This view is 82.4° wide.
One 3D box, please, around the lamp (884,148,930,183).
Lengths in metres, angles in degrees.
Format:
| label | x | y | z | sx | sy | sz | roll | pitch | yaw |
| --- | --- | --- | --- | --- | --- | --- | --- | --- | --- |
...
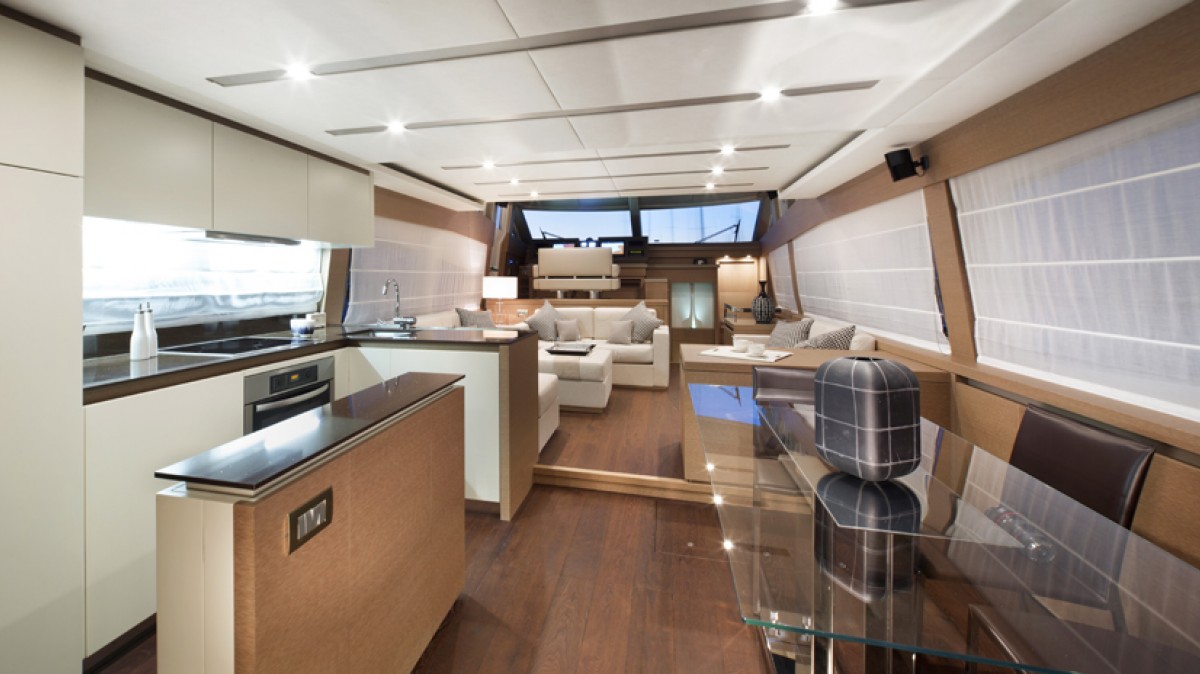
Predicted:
| label | x | y | z | sx | sy | sz | roll | pitch | yaw |
| --- | --- | --- | --- | --- | --- | --- | --- | --- | --- |
| lamp | 2.461 | -1.385 | 5.512 | 0.304 | 0.214 | 0.201 | -3 | 6 | 27 |

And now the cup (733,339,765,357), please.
| label | x | y | z | sx | sy | sz | roll | pitch | yaw |
| --- | --- | --- | --- | --- | --- | --- | --- | --- | --- |
| cup | 1.260 | 0.086 | 5.977 | 0.181 | 0.097 | 0.257 | 2 | -1 | -37 |

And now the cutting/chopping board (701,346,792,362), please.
| label | x | y | z | sx | sy | sz | roll | pitch | yaw |
| --- | --- | --- | --- | --- | --- | --- | --- | --- | --- |
| cutting/chopping board | 1.246 | 0.124 | 5.872 | 0.733 | 0.101 | 0.472 | 1 | 7 | 12 |

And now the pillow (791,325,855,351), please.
| label | x | y | z | sx | sy | sz | roll | pitch | yaw |
| --- | --- | --- | --- | --- | --- | --- | --- | --- | --- |
| pillow | 2.175 | 0.005 | 6.571 | 0.464 | 0.201 | 0.411 | 2 | 7 | 21 |

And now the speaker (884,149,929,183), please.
| label | x | y | z | sx | sy | sz | roll | pitch | yaw |
| --- | --- | --- | --- | --- | --- | --- | --- | --- | --- |
| speaker | 2.491 | -1.399 | 5.595 | 0.292 | 0.205 | 0.204 | -3 | 7 | 31 |

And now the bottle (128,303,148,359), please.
| label | x | y | z | sx | sy | sz | roll | pitch | yaw |
| --- | --- | --- | --- | --- | --- | --- | --- | --- | --- |
| bottle | -3.293 | -0.044 | 4.894 | 0.128 | 0.386 | 0.170 | -5 | 8 | -33 |

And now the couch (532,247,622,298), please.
| label | x | y | z | sx | sy | sz | roll | pitch | yaw |
| --- | --- | --- | --- | --- | --- | --- | --- | --- | --- |
| couch | -0.272 | -0.921 | 9.744 | 1.257 | 0.741 | 0.715 | 1 | 4 | 13 |

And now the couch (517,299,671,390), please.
| label | x | y | z | sx | sy | sz | roll | pitch | yaw |
| --- | --- | --- | --- | --- | --- | --- | --- | --- | --- |
| couch | -0.092 | 0.074 | 8.921 | 1.914 | 0.947 | 0.955 | 1 | 14 | 2 |

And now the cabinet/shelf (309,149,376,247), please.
| label | x | y | z | sx | sy | sz | roll | pitch | yaw |
| --- | --- | --- | --- | --- | --- | --- | --- | --- | --- |
| cabinet/shelf | -2.255 | -1.232 | 6.200 | 0.910 | 0.735 | 0.317 | 15 | 20 | 29 |
